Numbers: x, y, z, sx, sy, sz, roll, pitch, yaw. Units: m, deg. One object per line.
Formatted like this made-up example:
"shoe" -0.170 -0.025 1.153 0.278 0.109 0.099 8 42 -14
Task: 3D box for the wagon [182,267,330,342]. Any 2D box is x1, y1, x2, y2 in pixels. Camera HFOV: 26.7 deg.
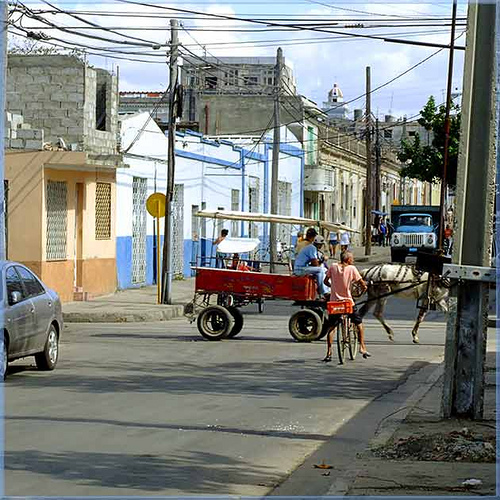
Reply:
"wagon" 0.342 0.831 19.919 2.937 1.340 1.349 0 24 25

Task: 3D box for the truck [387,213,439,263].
"truck" 7.812 -0.677 49.860 2.904 2.202 4.252 0 -4 4

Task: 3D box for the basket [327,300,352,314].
"basket" 1.424 0.901 16.594 0.391 0.215 0.231 1 0 2

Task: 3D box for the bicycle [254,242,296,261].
"bicycle" 1.178 0.139 46.738 1.575 0.932 0.799 3 -4 4
